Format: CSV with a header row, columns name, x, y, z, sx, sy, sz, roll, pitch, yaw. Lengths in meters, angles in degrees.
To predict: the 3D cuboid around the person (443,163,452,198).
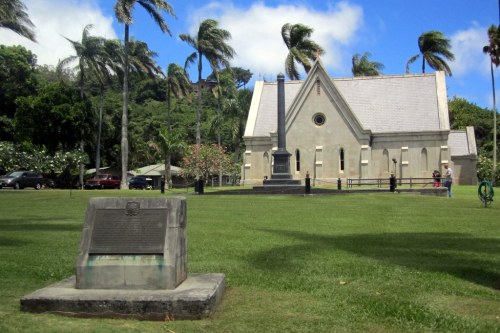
name,x,y,z,sx,sy,sz,roll,pitch,yaw
person,13.502,0.905,30.173,0.519,2.139,0.657,-1,13,19
